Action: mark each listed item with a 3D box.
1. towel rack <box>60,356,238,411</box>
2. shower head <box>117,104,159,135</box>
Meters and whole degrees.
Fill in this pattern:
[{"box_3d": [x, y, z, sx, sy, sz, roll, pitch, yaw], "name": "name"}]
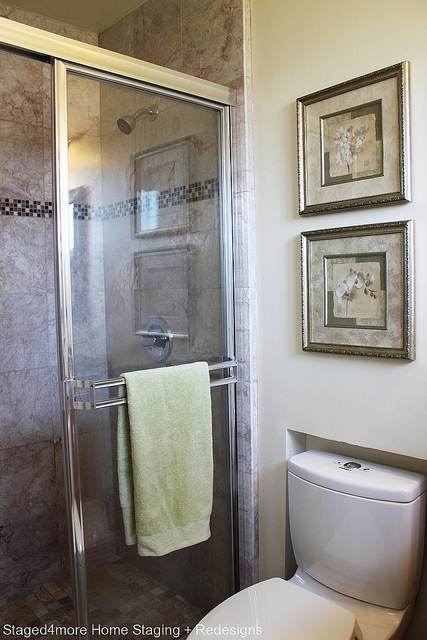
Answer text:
[{"box_3d": [-0.135, 0.168, 1.408, 0.071, 0.115, 0.621, 4, 8, 42], "name": "towel rack"}, {"box_3d": [-0.206, -0.533, 1.329, 0.037, 0.067, 0.092, 26, 31, 13], "name": "shower head"}]
